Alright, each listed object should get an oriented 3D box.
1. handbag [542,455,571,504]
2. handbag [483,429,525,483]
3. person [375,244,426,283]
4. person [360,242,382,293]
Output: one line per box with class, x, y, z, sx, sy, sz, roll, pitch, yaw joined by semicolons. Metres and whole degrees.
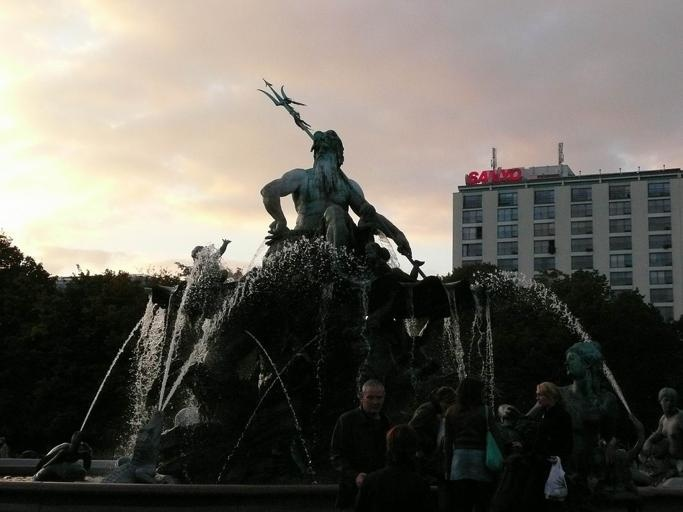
handbag;2.592;2.649;12.005;0.280;0.522;0.143;4;-11;-2
handbag;1.968;2.408;12.058;0.417;0.544;0.194;39;-29;-13
person;0.953;0.091;16.691;0.837;0.692;1.458;3;-11;3
person;0.584;0.128;16.771;0.414;0.923;0.572;3;-11;1
